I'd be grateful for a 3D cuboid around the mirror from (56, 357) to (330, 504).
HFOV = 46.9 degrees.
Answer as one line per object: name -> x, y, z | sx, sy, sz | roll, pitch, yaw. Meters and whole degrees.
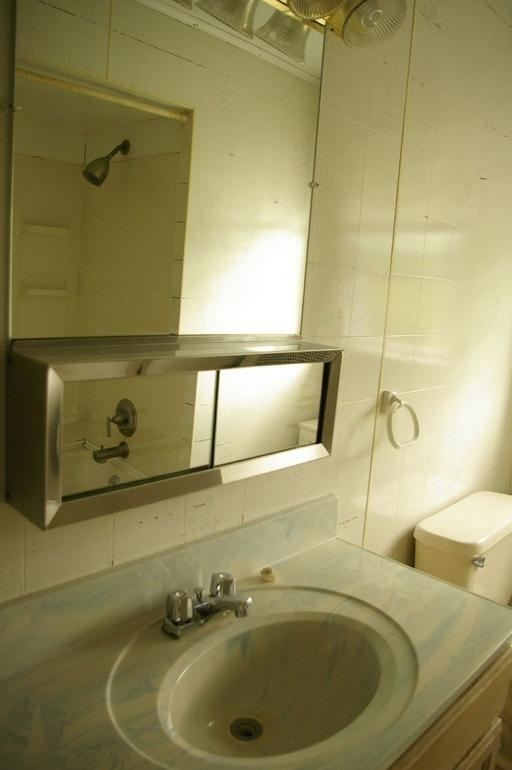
mirror -> -0.067, 0.060, 1.017 | 0.023, 0.180, 0.613 | 11, 11, 39
